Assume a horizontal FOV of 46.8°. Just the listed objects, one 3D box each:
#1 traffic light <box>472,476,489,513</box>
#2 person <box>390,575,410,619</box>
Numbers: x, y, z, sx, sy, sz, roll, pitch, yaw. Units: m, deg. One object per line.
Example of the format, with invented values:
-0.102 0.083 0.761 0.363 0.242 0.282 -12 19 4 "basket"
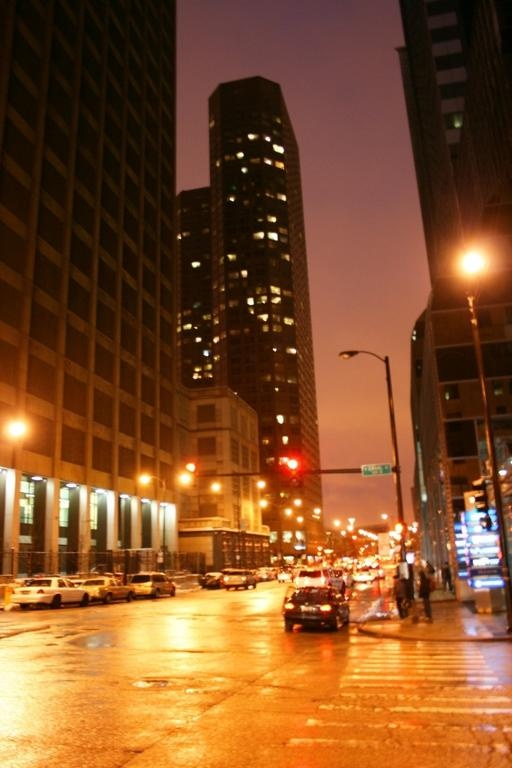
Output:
6.951 3.440 18.278 0.423 1.048 1.298 -9 -16 18 "traffic light"
5.373 7.858 21.805 0.474 1.480 1.870 -7 -15 12 "person"
